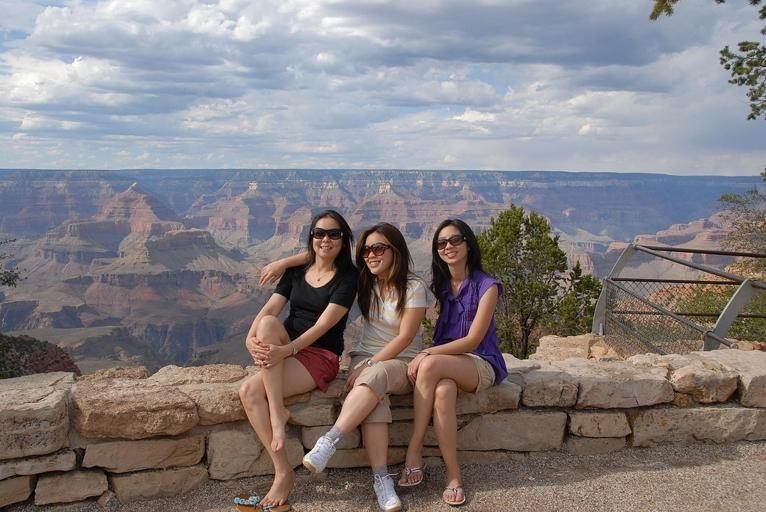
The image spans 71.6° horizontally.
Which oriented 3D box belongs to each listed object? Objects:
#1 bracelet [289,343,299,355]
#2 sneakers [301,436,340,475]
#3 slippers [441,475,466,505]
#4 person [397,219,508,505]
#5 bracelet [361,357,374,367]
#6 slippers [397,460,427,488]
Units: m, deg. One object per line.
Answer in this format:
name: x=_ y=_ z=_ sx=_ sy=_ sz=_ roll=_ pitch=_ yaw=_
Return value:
bracelet: x=-0.779 y=0.807 z=4.599 sx=0.041 sy=0.101 sz=0.082 roll=-16 pitch=0 yaw=26
sneakers: x=-0.489 y=1.560 z=4.207 sx=0.111 sy=0.250 sz=0.290 roll=6 pitch=11 yaw=43
slippers: x=0.609 y=1.908 z=4.348 sx=0.230 sy=0.199 sz=0.146 roll=-5 pitch=9 yaw=-21
person: x=0.622 y=0.829 z=4.572 sx=0.687 sy=2.269 sz=0.949 roll=3 pitch=10 yaw=26
bracelet: x=-0.134 y=0.920 z=4.611 sx=0.089 sy=0.034 sz=0.061 roll=-21 pitch=19 yaw=-4
slippers: x=0.252 y=1.841 z=4.484 sx=0.257 sy=0.134 sz=0.482 roll=-1 pitch=-3 yaw=5
